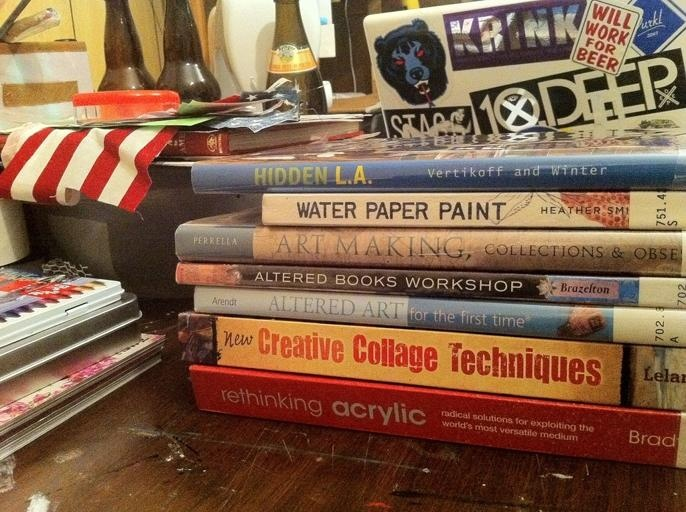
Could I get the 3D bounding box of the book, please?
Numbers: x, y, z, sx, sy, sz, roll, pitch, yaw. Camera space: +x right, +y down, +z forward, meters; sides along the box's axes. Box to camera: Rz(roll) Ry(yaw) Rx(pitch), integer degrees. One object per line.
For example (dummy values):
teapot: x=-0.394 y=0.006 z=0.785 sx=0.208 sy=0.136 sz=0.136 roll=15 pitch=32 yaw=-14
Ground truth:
book: x=0.086 y=0.025 z=0.562 sx=0.471 sy=0.279 sz=0.182 roll=0 pitch=14 yaw=14
